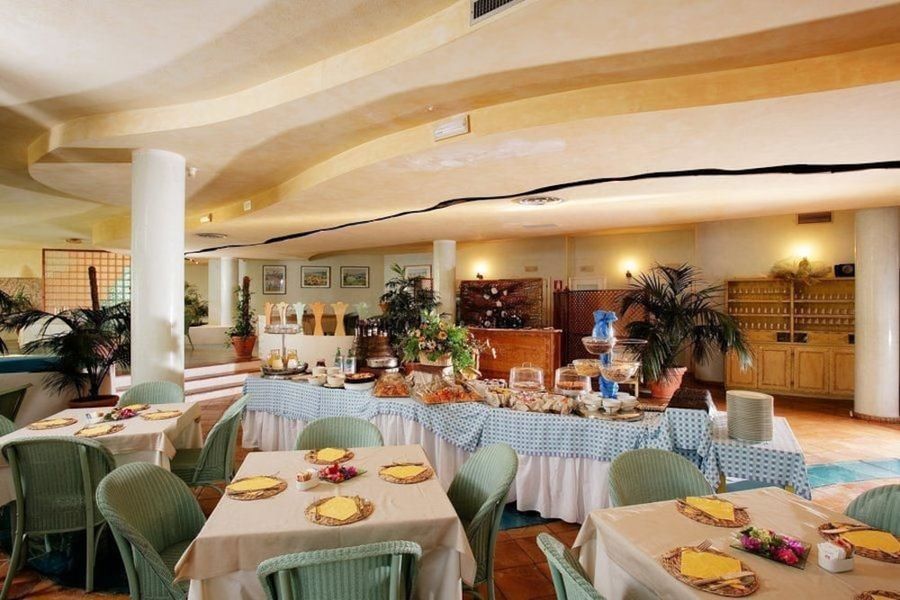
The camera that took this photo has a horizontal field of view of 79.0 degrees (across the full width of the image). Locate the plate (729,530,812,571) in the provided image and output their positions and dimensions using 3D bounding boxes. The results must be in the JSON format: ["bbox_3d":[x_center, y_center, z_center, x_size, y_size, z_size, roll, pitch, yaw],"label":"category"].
[{"bbox_3d":[1.762,1.355,2.996,0.367,0.147,0.172,-1,-4,29],"label":"plate"}]

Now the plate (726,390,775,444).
[{"bbox_3d":[2.358,0.894,4.308,0.413,0.390,0.399,1,3,30],"label":"plate"}]

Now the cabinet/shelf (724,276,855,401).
[{"bbox_3d":[5.916,0.724,9.329,2.480,1.954,0.698,-1,-8,28],"label":"cabinet/shelf"}]

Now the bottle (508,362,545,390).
[{"bbox_3d":[0.765,0.803,5.479,0.339,0.193,0.478,0,-3,5],"label":"bottle"}]

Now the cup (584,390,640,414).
[{"bbox_3d":[1.370,0.903,4.714,0.475,0.142,0.315,0,-3,17],"label":"cup"}]

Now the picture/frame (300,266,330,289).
[{"bbox_3d":[-4.141,-0.678,16.516,0.831,0.573,0.073,1,-3,-18],"label":"picture/frame"}]

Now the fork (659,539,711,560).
[{"bbox_3d":[1.294,1.374,2.992,0.358,0.059,0.077,1,-3,-16],"label":"fork"}]

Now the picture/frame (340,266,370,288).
[{"bbox_3d":[-2.970,-0.688,16.725,0.797,0.523,0.030,1,-2,-13],"label":"picture/frame"}]

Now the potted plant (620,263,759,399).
[{"bbox_3d":[3.381,0.476,8.984,2.238,1.770,2.257,2,2,12],"label":"potted plant"}]

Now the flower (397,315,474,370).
[{"bbox_3d":[-0.138,0.436,5.528,0.527,0.331,0.484,-10,5,-28],"label":"flower"}]

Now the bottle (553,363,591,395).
[{"bbox_3d":[1.183,0.770,5.264,0.310,0.229,0.289,-1,-5,0],"label":"bottle"}]
